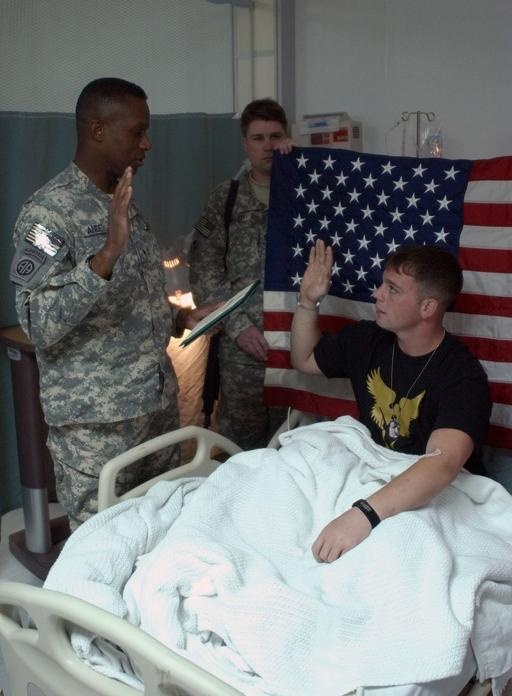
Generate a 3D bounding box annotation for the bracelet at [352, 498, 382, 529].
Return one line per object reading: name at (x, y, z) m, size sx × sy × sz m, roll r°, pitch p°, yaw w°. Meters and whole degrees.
bracelet at (0.266, 0.385, 1.472) m, size 0.049 × 0.060 × 0.072 m, roll -31°, pitch 9°, yaw -30°

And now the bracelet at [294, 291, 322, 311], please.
bracelet at (0.189, -0.167, 2.193) m, size 0.071 × 0.068 × 0.029 m, roll 9°, pitch 5°, yaw 5°
